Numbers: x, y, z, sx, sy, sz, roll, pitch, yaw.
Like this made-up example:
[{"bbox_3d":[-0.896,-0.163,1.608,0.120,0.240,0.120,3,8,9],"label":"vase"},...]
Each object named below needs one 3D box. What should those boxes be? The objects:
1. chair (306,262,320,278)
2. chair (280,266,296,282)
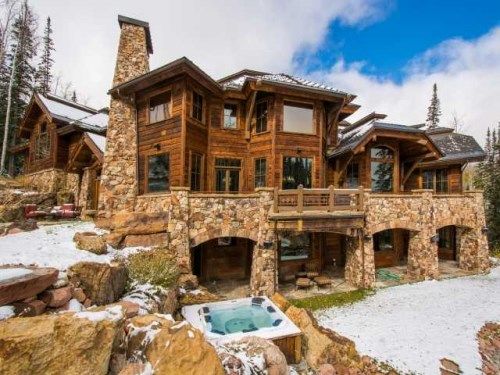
[{"bbox_3d":[4.704,6.031,22.419,0.918,1.286,1.048,2,-16,-6],"label":"chair"},{"bbox_3d":[2.655,6.271,22.221,0.849,0.595,1.270,2,-7,-15],"label":"chair"}]
